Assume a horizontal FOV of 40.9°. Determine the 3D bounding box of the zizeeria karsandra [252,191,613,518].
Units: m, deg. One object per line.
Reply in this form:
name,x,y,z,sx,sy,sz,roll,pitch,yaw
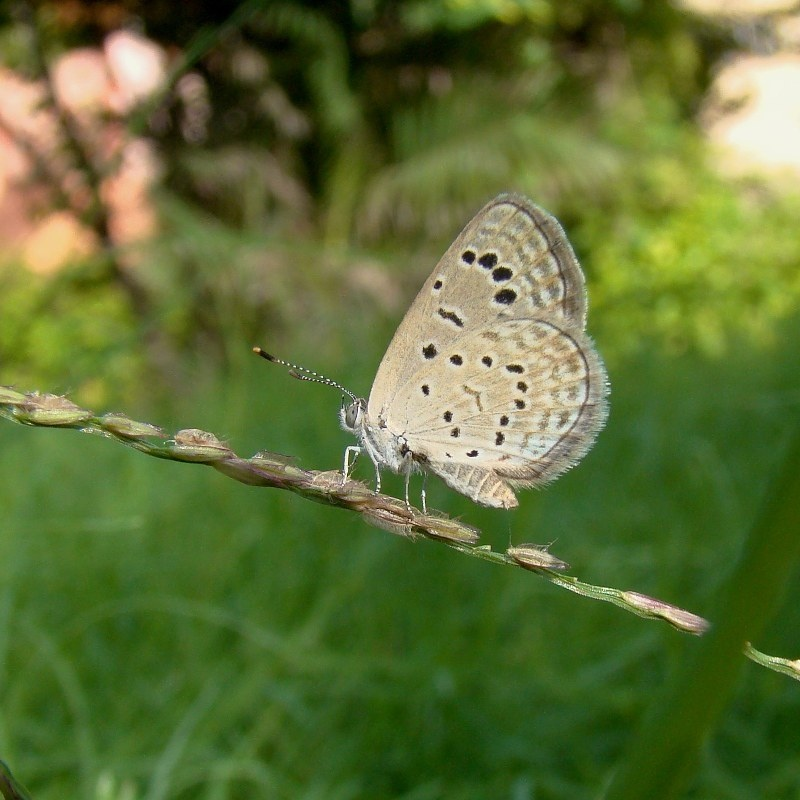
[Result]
zizeeria karsandra,0.116,-0.053,1.342,0.503,0.362,0.331,6,-4,9
